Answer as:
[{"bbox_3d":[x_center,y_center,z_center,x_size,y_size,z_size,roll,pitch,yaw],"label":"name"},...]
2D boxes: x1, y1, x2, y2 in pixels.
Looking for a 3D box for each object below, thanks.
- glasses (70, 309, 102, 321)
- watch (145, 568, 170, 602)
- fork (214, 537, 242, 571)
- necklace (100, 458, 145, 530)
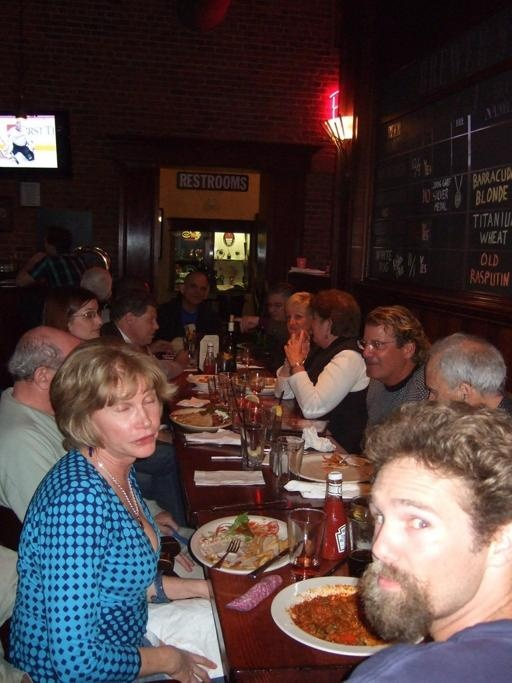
[{"bbox_3d":[-0.926,-0.151,3.096,0.080,0.077,0.243,-2,7,13],"label":"glasses"},{"bbox_3d":[-0.291,0.747,1.685,0.077,0.049,0.094,2,20,-8],"label":"watch"},{"bbox_3d":[-0.070,0.518,1.378,0.019,0.014,0.129,-7,15,19],"label":"fork"},{"bbox_3d":[-0.351,0.406,1.503,0.078,0.227,0.012,-24,12,43],"label":"necklace"}]
